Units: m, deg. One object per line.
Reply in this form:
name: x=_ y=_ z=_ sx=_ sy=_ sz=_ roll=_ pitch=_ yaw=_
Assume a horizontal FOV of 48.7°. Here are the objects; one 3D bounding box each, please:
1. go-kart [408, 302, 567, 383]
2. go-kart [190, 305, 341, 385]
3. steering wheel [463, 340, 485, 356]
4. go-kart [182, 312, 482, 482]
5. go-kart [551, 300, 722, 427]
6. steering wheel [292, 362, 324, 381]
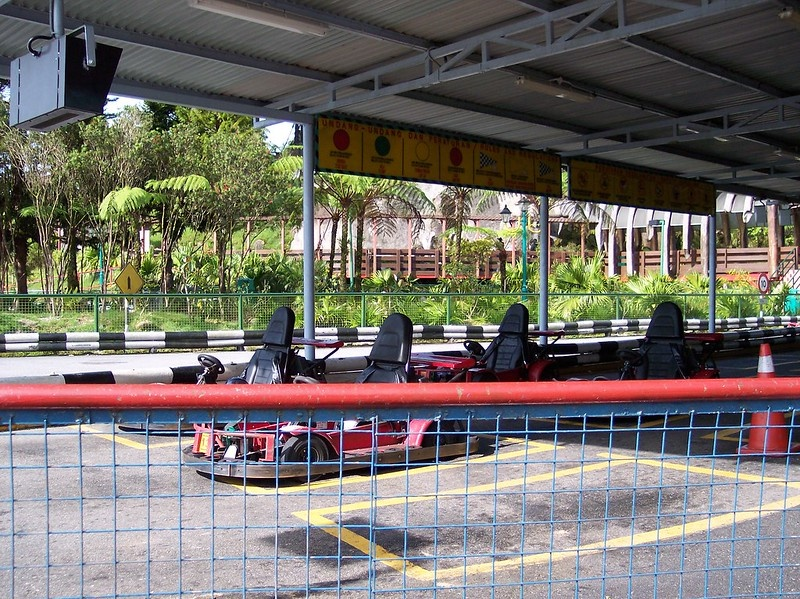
go-kart: x=1.184 y=0.579 z=11.398 sx=1.821 sy=1.049 sz=0.982 roll=1 pitch=-6 yaw=-27
go-kart: x=-1.405 y=0.546 z=9.700 sx=1.974 sy=1.137 sz=0.771 roll=5 pitch=-6 yaw=-32
steering wheel: x=1.037 y=0.649 z=12.488 sx=0.218 sy=0.059 sz=0.220 roll=19 pitch=3 yaw=-1
go-kart: x=-0.729 y=0.982 z=8.371 sx=2.656 sy=1.322 sz=1.502 roll=5 pitch=-8 yaw=-38
go-kart: x=3.783 y=0.763 z=11.860 sx=3.197 sy=1.800 sz=1.544 roll=2 pitch=-3 yaw=-33
steering wheel: x=-1.026 y=0.792 z=9.978 sx=0.312 sy=0.305 sz=0.347 roll=-1 pitch=-2 yaw=34
